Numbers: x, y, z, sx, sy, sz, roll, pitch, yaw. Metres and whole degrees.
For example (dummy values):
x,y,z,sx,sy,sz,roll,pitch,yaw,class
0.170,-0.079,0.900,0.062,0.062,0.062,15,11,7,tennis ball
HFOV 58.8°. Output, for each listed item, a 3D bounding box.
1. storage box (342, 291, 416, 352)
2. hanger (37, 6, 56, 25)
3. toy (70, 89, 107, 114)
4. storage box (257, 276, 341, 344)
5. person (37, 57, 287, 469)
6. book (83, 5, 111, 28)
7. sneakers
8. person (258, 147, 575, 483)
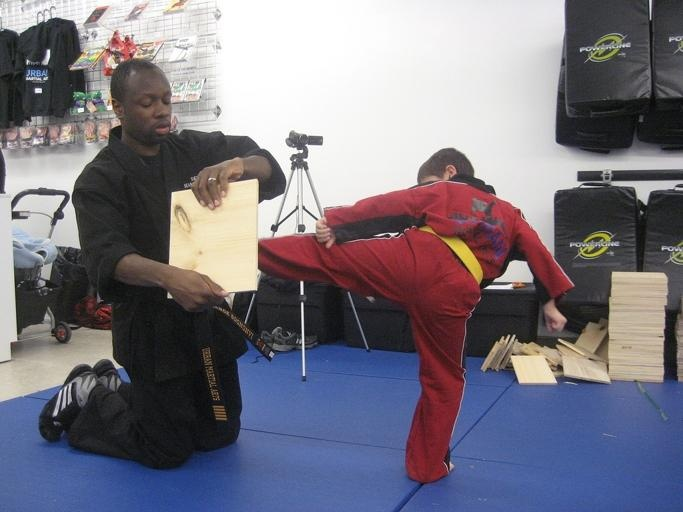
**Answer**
x,y,z,sx,sy,sz,roll,pitch,yaw,class
0.284,0.522,5.514,0.468,0.522,0.817,-9,-5,3,storage box
-3.295,-2.702,6.784,0.319,0.213,0.009,15,13,30,hanger
-2.692,-1.656,6.502,0.310,0.202,0.306,-2,5,-25,toy
-0.469,0.498,5.473,0.601,0.400,0.337,0,-10,28,storage box
-0.970,0.030,3.140,1.219,2.020,0.840,2,9,18,person
-2.630,-2.566,6.426,0.242,0.251,0.331,0,9,3,book
-1.450,0.825,3.376,0.475,0.175,0.199,-49,30,-18,sneakers
0.386,0.325,2.949,1.408,1.503,0.580,-5,10,-25,person
